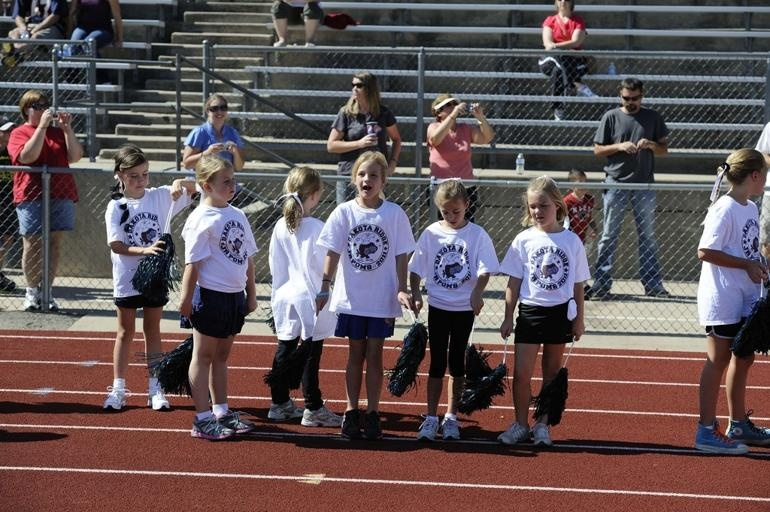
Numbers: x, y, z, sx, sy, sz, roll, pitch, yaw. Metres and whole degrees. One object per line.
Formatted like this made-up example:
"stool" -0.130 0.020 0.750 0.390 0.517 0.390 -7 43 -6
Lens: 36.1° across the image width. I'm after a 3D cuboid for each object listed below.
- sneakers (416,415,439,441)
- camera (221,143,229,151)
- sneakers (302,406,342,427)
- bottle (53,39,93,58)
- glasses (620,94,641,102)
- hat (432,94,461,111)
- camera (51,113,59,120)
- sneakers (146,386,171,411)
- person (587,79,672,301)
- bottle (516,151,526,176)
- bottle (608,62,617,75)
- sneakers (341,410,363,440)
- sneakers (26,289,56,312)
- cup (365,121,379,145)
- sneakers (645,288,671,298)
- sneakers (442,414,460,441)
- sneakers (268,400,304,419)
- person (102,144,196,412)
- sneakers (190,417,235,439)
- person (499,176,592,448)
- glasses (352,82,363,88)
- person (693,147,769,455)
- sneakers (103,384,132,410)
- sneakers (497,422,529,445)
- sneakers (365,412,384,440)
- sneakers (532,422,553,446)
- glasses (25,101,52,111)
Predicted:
"sneakers" 0.420 1.638 11.441 0.216 0.231 0.396 3 3 1
"camera" -1.902 -1.293 14.044 0.073 0.050 0.132 -2 9 -15
"sneakers" -0.625 1.587 11.641 0.417 0.216 0.168 1 3 -10
"bottle" -4.456 -2.936 16.809 0.418 0.173 0.426 -1 2 0
"glasses" 3.037 -1.949 14.610 0.218 0.082 0.176 3 3 6
"hat" 0.676 -1.810 14.193 0.210 0.115 0.298 -21 1 -21
"camera" -3.810 -1.612 13.599 0.046 0.086 0.082 14 8 -9
"sneakers" -2.262 1.435 11.754 0.120 0.225 0.334 3 -11 -31
"person" 3.029 -0.824 14.789 0.975 2.768 0.682 1 3 -30
"bottle" 1.848 -1.257 16.176 0.111 0.304 0.394 3 3 6
"bottle" 3.222 -2.666 16.861 0.166 0.211 0.180 0 1 0
"sneakers" -0.325 1.634 11.323 0.216 0.256 0.613 2 -4 -2
"sneakers" -4.151 0.537 14.091 0.486 0.235 0.180 -2 6 -24
"cup" -0.155 -1.485 13.870 0.126 0.215 0.216 2 3 -4
"sneakers" 3.428 0.469 14.861 0.349 0.161 0.124 -1 -1 -1
"sneakers" 0.628 1.639 11.389 0.178 0.242 0.197 3 3 2
"sneakers" -1.000 1.516 11.717 0.399 0.205 0.150 -1 12 -15
"person" -2.441 0.221 11.777 0.841 2.624 0.584 4 3 33
"sneakers" -1.647 1.652 11.294 0.390 0.196 0.177 1 6 12
"person" 1.498 0.526 11.285 0.820 2.577 0.411 3 3 4
"glasses" -0.332 -2.011 13.905 0.074 0.081 0.158 0 4 -44
"person" 3.274 0.420 11.186 0.717 2.889 0.465 2 3 -5
"sneakers" -2.692 1.454 11.832 0.134 0.190 0.292 -2 -13 7
"sneakers" 1.215 1.694 11.268 0.286 0.131 0.152 -3 11 -23
"sneakers" -0.117 1.617 11.392 0.175 0.275 0.249 3 3 -1
"sneakers" 1.489 1.703 11.250 0.154 0.176 0.406 -2 -8 4
"glasses" -4.071 -1.725 13.732 0.254 0.126 0.149 2 3 -16
